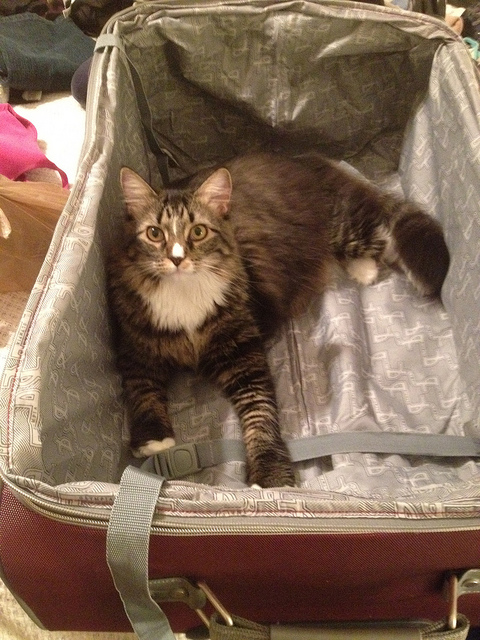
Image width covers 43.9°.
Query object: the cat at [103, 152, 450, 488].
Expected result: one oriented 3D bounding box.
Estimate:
[{"bbox_3d":[0.087,-0.066,1.586,0.687,0.480,0.937,16,53,22],"label":"cat"}]
